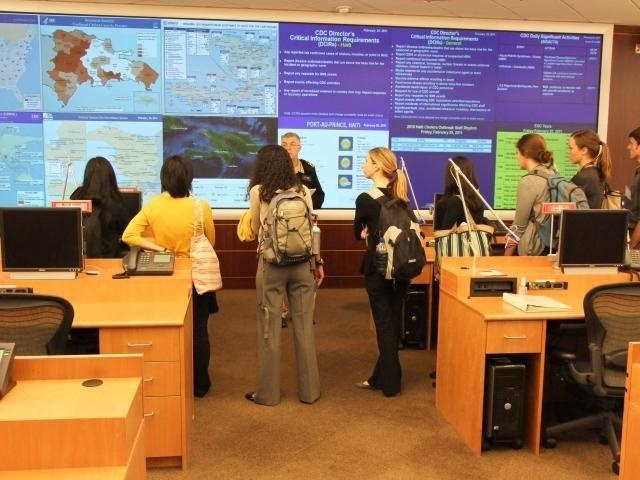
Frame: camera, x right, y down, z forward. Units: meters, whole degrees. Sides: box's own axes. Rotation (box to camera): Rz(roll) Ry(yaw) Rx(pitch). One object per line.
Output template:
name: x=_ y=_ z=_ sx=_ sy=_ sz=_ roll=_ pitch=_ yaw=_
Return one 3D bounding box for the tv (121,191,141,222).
tv: x=-1.780 y=-0.328 z=5.370 sx=0.187 sy=0.298 sz=0.183 roll=1 pitch=-4 yaw=-4

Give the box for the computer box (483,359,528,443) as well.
computer box: x=1.150 y=1.034 z=3.610 sx=0.241 sy=0.554 sz=0.216 roll=2 pitch=12 yaw=7

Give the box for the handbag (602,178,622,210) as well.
handbag: x=2.357 y=-0.355 z=4.649 sx=0.134 sy=0.182 sz=0.377 roll=6 pitch=13 yaw=25

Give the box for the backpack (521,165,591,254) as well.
backpack: x=1.856 y=-0.200 z=4.373 sx=0.388 sy=0.529 sz=0.512 roll=9 pitch=-7 yaw=-11

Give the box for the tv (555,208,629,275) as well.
tv: x=1.861 y=0.006 z=4.030 sx=0.534 sy=0.443 sz=0.183 roll=0 pitch=6 yaw=-15

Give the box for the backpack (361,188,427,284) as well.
backpack: x=0.524 y=-0.023 z=4.098 sx=0.423 sy=0.657 sz=0.353 roll=1 pitch=12 yaw=3

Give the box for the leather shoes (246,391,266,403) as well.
leather shoes: x=-0.492 y=1.149 z=4.184 sx=0.074 sy=0.042 sz=0.131 roll=-2 pitch=4 yaw=-36

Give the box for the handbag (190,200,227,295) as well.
handbag: x=-0.833 y=0.072 z=4.101 sx=0.200 sy=0.693 sz=0.328 roll=-2 pitch=12 yaw=-14

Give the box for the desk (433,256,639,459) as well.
desk: x=1.601 y=0.747 z=3.972 sx=1.413 sy=1.105 sz=1.018 roll=0 pitch=7 yaw=-8

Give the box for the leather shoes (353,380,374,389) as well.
leather shoes: x=0.329 y=1.116 z=4.458 sx=0.138 sy=0.038 sz=0.051 roll=5 pitch=8 yaw=16

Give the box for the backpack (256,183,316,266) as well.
backpack: x=-0.216 y=-0.087 z=3.955 sx=0.414 sy=0.474 sz=0.258 roll=-9 pitch=25 yaw=-26

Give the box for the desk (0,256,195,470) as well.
desk: x=-1.184 y=0.629 z=3.430 sx=1.193 sy=0.707 sz=1.173 roll=0 pitch=8 yaw=-3

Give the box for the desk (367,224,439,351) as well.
desk: x=0.640 y=0.388 z=4.502 sx=0.371 sy=1.081 sz=1.135 roll=1 pitch=2 yaw=3
